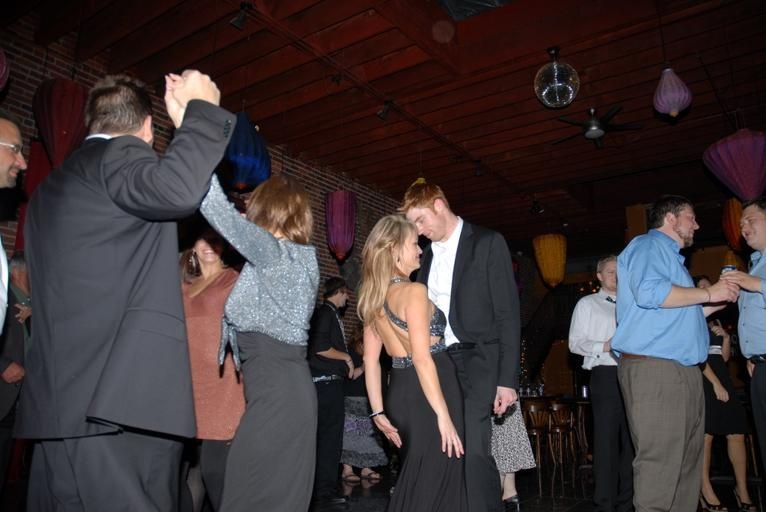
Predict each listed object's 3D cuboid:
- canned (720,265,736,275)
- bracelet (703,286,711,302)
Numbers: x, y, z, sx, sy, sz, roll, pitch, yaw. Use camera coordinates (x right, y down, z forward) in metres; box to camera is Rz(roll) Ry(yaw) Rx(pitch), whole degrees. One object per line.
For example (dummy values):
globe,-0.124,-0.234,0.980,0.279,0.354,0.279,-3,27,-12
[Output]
canned,2.620,0.097,4.234,0.098,0.099,0.098,8,-21,31
bracelet,2.240,0.262,3.836,0.024,0.077,0.077,3,4,8
